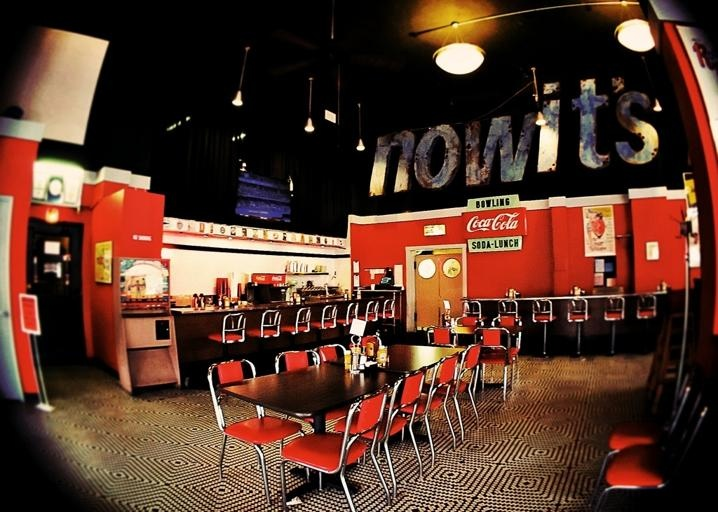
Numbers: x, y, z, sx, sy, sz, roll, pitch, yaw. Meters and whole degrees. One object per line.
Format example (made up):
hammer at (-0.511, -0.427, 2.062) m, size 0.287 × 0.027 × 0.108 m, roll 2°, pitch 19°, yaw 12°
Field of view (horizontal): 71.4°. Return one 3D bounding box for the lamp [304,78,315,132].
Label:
lamp at (-0.777, -2.353, 7.788) m, size 0.170 × 0.759 × 0.463 m, roll -2°, pitch -2°, yaw -5°

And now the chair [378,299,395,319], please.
chair at (0.711, 1.259, 12.012) m, size 0.423 × 0.620 × 0.477 m, roll -4°, pitch -9°, yaw 24°

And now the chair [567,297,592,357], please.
chair at (4.572, 1.429, 10.417) m, size 0.438 × 0.927 × 1.017 m, roll -3°, pitch -2°, yaw 24°

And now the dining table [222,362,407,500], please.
dining table at (-0.450, 1.520, 5.747) m, size 1.215 × 1.424 × 2.239 m, roll 2°, pitch 1°, yaw 35°

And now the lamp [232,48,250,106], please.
lamp at (-1.688, -2.576, 7.172) m, size 0.221 × 0.704 × 0.561 m, roll -2°, pitch -2°, yaw -21°

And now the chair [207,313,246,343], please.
chair at (-2.380, 1.332, 9.117) m, size 0.620 × 0.601 × 1.178 m, roll -2°, pitch -2°, yaw -13°

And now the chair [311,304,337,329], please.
chair at (-0.703, 1.317, 10.947) m, size 0.451 × 0.730 × 0.551 m, roll 0°, pitch 0°, yaw -41°

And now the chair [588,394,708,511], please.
chair at (2.886, 1.973, 4.991) m, size 1.041 × 0.911 × 0.579 m, roll -3°, pitch -2°, yaw 15°

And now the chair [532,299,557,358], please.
chair at (3.865, 1.475, 10.486) m, size 0.467 × 0.861 × 0.907 m, roll -3°, pitch -2°, yaw 20°

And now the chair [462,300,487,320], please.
chair at (2.551, 1.189, 11.209) m, size 0.413 × 0.592 × 0.426 m, roll 0°, pitch -1°, yaw 45°

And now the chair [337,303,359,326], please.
chair at (-0.237, 1.322, 11.443) m, size 0.447 × 0.498 × 1.105 m, roll -2°, pitch -2°, yaw -1°

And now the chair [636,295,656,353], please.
chair at (5.970, 1.343, 10.350) m, size 0.397 × 0.974 × 0.860 m, roll -3°, pitch -2°, yaw 29°
